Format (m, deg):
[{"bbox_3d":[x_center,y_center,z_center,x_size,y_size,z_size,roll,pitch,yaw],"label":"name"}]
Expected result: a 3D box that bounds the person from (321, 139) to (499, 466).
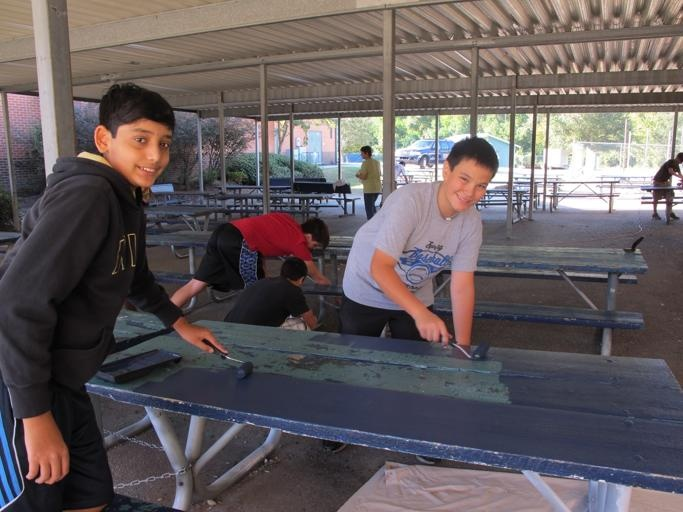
[{"bbox_3d":[0.312,0.233,2.652,0.896,1.548,0.854,9,10,37],"label":"person"}]
